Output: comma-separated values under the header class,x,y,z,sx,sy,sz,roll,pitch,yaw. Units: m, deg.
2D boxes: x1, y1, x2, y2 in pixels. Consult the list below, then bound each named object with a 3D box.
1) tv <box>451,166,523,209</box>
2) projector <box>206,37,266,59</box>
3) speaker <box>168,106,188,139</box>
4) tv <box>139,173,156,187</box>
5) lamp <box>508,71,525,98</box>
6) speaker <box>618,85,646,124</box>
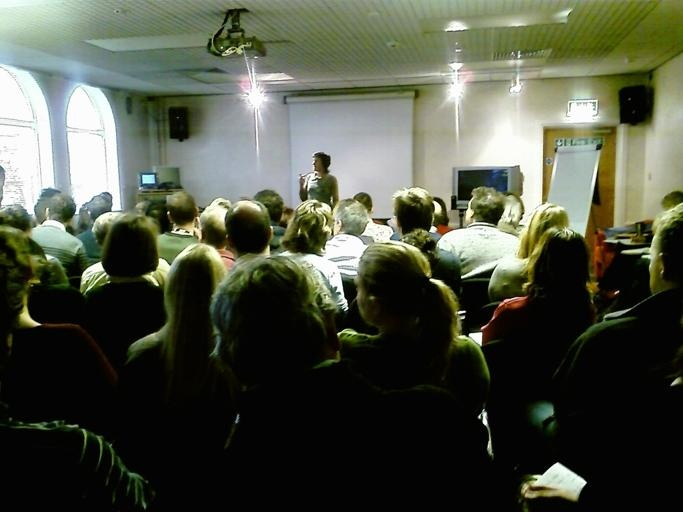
class,x,y,z,sx,sy,sz,roll,pitch,yaw
tv,2.031,-1.015,7.857,1.089,0.754,0.635,-1,19,5
projector,-0.941,-1.984,5.287,0.388,0.095,0.384,1,5,12
speaker,-2.943,-2.394,9.942,0.395,0.539,0.295,-9,29,-23
tv,-3.221,-1.249,9.147,0.343,0.302,0.188,-1,2,-18
lamp,2.725,-2.589,8.329,0.203,0.275,0.498,3,12,17
speaker,4.393,-2.223,8.083,0.394,0.520,0.164,1,11,7
